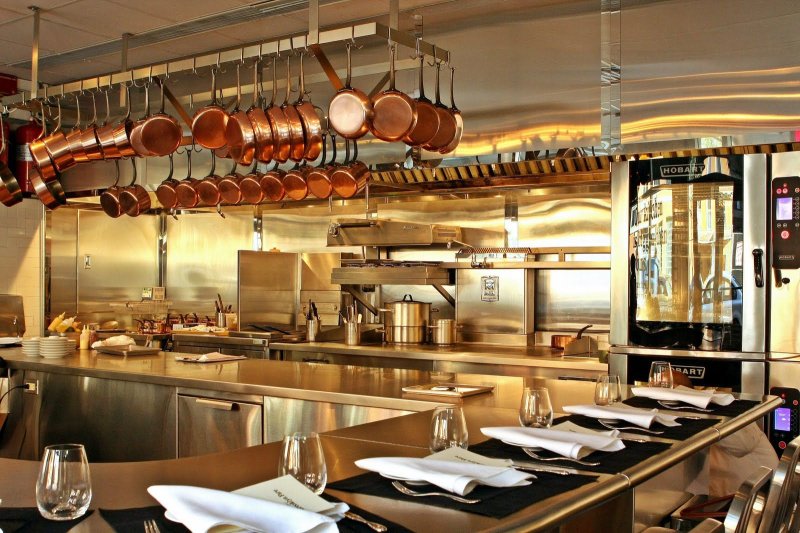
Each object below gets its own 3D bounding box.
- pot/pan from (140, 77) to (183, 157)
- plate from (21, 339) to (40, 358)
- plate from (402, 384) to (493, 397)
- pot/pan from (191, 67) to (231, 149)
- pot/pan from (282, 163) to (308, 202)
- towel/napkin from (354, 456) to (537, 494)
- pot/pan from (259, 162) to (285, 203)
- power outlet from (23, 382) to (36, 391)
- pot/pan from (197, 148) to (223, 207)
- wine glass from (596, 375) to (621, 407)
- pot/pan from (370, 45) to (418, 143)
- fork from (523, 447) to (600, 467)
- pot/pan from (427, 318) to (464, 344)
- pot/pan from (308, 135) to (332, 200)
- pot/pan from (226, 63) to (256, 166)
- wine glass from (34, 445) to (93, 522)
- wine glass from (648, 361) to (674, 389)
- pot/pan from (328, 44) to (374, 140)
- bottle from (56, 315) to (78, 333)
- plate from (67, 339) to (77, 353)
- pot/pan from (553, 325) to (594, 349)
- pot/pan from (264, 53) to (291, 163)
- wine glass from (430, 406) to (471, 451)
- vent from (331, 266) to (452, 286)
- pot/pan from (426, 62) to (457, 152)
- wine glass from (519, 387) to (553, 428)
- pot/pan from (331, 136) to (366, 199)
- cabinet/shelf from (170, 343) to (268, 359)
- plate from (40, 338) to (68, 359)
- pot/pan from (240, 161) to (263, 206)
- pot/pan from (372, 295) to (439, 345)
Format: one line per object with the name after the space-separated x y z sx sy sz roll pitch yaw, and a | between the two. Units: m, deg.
-1.404 -0.892 3.827 0.292 0.438 0.069 -3 12 -1 | pot/pan
-2.770 0.616 4.810 0.159 0.107 0.143 0 -3 6 | plate
0.252 0.644 3.290 0.482 0.028 0.289 0 -2 3 | plate
-1.091 -0.893 3.717 0.308 0.468 0.077 -1 8 -8 | pot/pan
-0.706 -0.601 4.304 0.167 0.270 0.452 0 -3 -10 | pot/pan
0.113 0.585 1.821 0.258 0.035 0.163 0 1 25 | towel/napkin
-0.847 -0.577 4.391 0.198 0.253 0.115 6 17 24 | pot/pan
-2.622 0.853 4.537 0.114 0.062 0.030 0 -3 20 | power outlet
-1.334 -0.632 4.628 0.298 0.442 0.106 8 16 34 | pot/pan
0.834 0.489 2.546 0.097 0.116 0.113 -1 -3 19 | wine glass
-0.028 -0.884 3.289 0.235 0.473 0.250 0 -3 2 | pot/pan
0.513 0.604 2.037 0.248 0.028 0.095 -1 -3 19 | fork
0.384 0.560 5.456 0.314 0.212 0.220 0 -3 8 | pot/pan
-0.503 -0.633 4.145 0.210 0.382 0.146 10 14 36 | pot/pan
-0.908 -0.845 3.600 0.349 0.535 0.086 7 13 41 | pot/pan
-0.908 0.583 1.712 0.117 0.203 0.092 -2 -4 30 | wine glass
1.160 0.481 2.879 0.113 0.111 0.129 -1 -6 -3 | wine glass
-0.239 -0.872 3.230 0.280 0.433 0.079 -1 4 19 | pot/pan
-2.873 0.496 5.440 0.187 0.092 0.279 -12 2 -42 | bottle
-2.519 0.606 4.890 0.056 0.105 0.340 1 -3 -25 | plate
1.403 0.575 5.139 0.184 0.160 0.303 2 -4 -35 | pot/pan
-0.683 -0.870 3.547 0.105 0.553 0.351 -1 3 -28 | pot/pan
0.147 0.518 2.000 0.136 0.147 0.126 0 -8 2 | wine glass
-0.099 0.075 5.525 0.981 0.160 0.284 -1 -3 25 | vent
0.209 -0.857 3.533 0.274 0.412 0.068 -8 8 -37 | pot/pan
0.475 0.498 2.228 0.134 0.137 0.120 4 -16 -3 | wine glass
-0.324 -0.644 4.093 0.242 0.371 0.517 0 -3 -3 | pot/pan
-1.655 0.734 5.720 1.135 0.106 0.113 -2 -3 30 | cabinet/shelf
-2.547 0.601 4.699 0.182 0.099 0.163 0 -5 0 | plate
-0.994 -0.592 4.517 0.235 0.304 0.137 7 13 22 | pot/pan
0.037 0.468 5.655 0.711 0.414 0.418 4 -3 -19 | pot/pan
